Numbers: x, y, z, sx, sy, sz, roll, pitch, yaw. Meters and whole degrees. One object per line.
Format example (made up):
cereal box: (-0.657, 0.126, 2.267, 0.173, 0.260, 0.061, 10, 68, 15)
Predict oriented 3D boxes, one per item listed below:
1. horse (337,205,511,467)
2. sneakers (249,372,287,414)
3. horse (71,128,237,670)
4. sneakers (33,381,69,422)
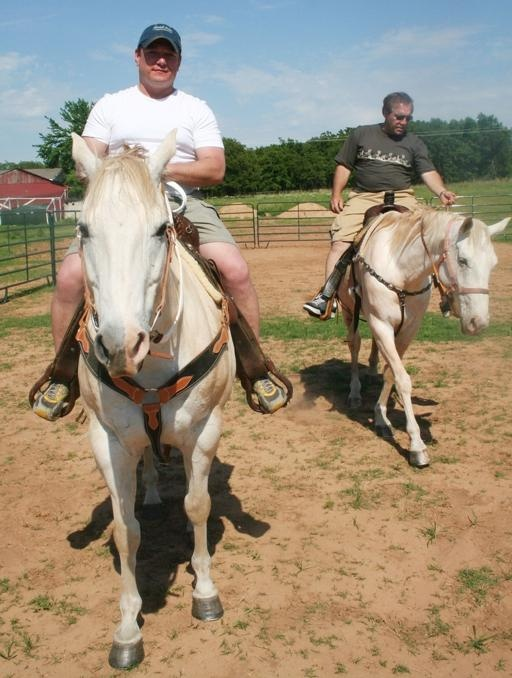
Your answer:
horse: (1.302, -0.101, 5.497, 0.722, 2.001, 1.911, -1, 13, -6)
sneakers: (0.080, 0.329, 3.980, 0.182, 0.111, 0.279, -19, 47, -7)
horse: (-0.461, 0.333, 2.838, 0.725, 2.383, 1.330, 0, 14, -2)
sneakers: (-1.157, 0.346, 3.645, 0.217, 0.233, 0.101, 15, -4, -8)
